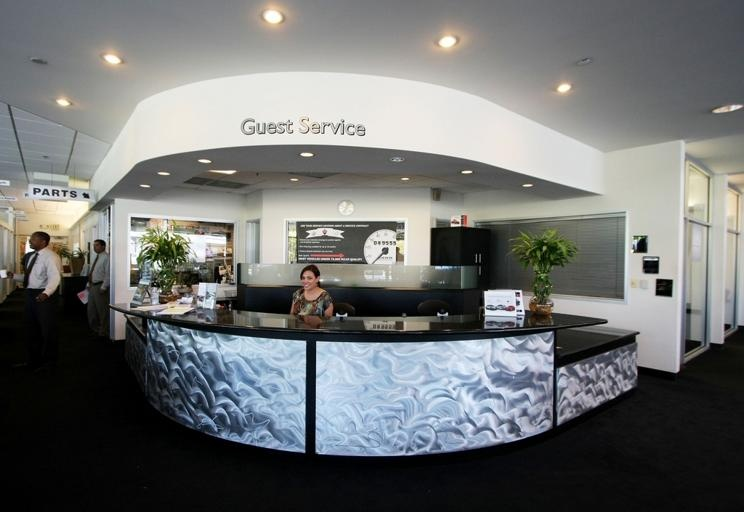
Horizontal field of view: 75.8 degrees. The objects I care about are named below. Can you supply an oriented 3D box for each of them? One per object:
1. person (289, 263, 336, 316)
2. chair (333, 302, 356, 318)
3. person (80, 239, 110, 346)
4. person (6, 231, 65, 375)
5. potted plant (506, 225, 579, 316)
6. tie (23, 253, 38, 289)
[{"bbox_3d":[-0.816,0.462,6.641,0.734,0.842,0.425,0,-10,10],"label":"person"},{"bbox_3d":[-0.382,0.674,6.374,0.194,0.258,0.209,14,19,41],"label":"chair"},{"bbox_3d":[-5.302,0.584,9.279,0.404,1.880,0.877,3,-6,-31],"label":"person"},{"bbox_3d":[-5.044,0.625,7.186,0.562,2.041,0.696,4,-7,-37],"label":"person"},{"bbox_3d":[2.121,0.220,6.133,0.798,0.954,0.747,3,-6,-30],"label":"potted plant"},{"bbox_3d":[-5.125,0.197,7.130,0.237,0.543,0.107,-2,-6,20],"label":"tie"}]
